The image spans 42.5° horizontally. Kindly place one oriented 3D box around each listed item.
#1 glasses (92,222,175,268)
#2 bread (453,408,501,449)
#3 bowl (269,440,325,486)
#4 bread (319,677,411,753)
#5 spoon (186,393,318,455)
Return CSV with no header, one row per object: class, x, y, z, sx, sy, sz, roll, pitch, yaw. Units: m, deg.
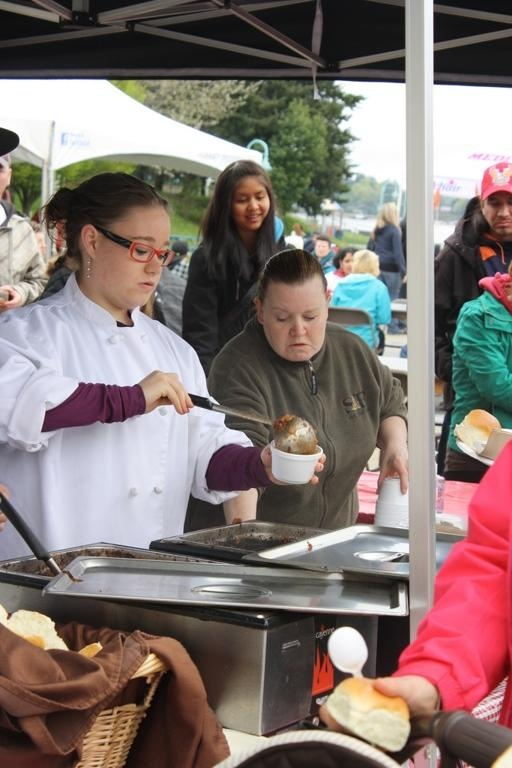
glasses,-0.374,-0.420,1.978,0.152,0.044,0.145,29,11,18
bread,0.926,0.192,2.780,0.190,0.069,0.141,8,54,22
bowl,0.113,0.214,1.785,0.134,0.077,0.126,1,-1,0
bread,0.116,0.330,0.668,0.077,0.042,0.090,6,10,27
spoon,-0.029,0.090,1.867,0.451,0.124,0.117,15,41,30
